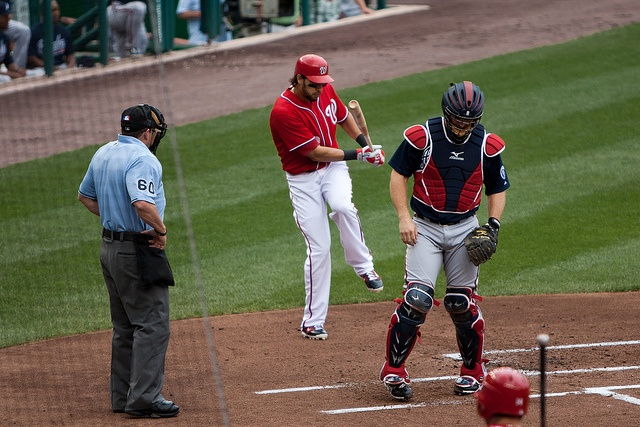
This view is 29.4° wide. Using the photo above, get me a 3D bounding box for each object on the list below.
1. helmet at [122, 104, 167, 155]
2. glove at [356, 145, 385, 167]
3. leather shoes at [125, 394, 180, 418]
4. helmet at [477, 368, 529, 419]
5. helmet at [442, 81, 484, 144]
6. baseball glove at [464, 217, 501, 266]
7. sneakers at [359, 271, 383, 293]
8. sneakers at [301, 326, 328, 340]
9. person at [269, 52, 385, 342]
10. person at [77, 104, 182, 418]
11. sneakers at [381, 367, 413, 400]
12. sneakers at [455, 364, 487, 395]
[{"bbox_3d":[-1.877,-0.917,12.782,0.544,0.456,0.443,3,8,-26],"label":"helmet"},{"bbox_3d":[0.574,-0.660,13.767,0.288,0.105,0.197,14,50,-6],"label":"glove"},{"bbox_3d":[-1.743,2.017,12.632,0.522,0.221,0.218,-2,3,-6],"label":"leather shoes"},{"bbox_3d":[1.723,1.661,11.110,0.559,0.421,0.412,5,8,29],"label":"helmet"},{"bbox_3d":[1.481,-1.129,12.795,0.468,0.519,0.538,6,32,-9],"label":"helmet"},{"bbox_3d":[1.719,0.249,12.716,0.348,0.222,0.600,20,47,18],"label":"baseball glove"},{"bbox_3d":[0.613,0.793,13.861,0.131,0.146,0.348,-42,21,-4],"label":"sneakers"},{"bbox_3d":[-0.058,1.395,13.872,0.307,0.119,0.129,0,2,25],"label":"sneakers"},{"bbox_3d":[0.089,-0.200,13.893,1.079,3.260,0.695,-7,11,-2],"label":"person"},{"bbox_3d":[-1.920,0.515,12.592,0.901,3.231,0.798,-7,11,-3],"label":"person"},{"bbox_3d":[0.805,1.807,12.761,0.305,0.368,0.177,-6,11,-5],"label":"sneakers"},{"bbox_3d":[1.574,1.780,12.782,0.185,0.210,0.527,-5,2,31],"label":"sneakers"}]
